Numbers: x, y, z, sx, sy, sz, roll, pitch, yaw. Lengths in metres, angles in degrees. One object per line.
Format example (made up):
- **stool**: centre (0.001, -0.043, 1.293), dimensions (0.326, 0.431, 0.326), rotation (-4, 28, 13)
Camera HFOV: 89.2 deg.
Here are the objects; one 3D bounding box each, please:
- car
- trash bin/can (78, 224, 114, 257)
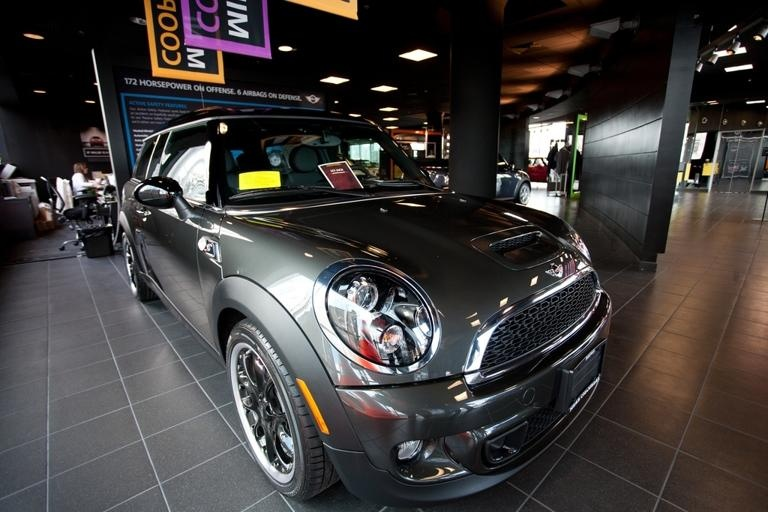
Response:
- **car**: centre (-0.152, 0.136, 2.650), dimensions (2.791, 2.375, 1.677), rotation (8, 18, 35)
- **trash bin/can**: centre (-4.728, -0.274, 6.346), dimensions (0.540, 0.372, 0.518), rotation (-10, 17, -38)
